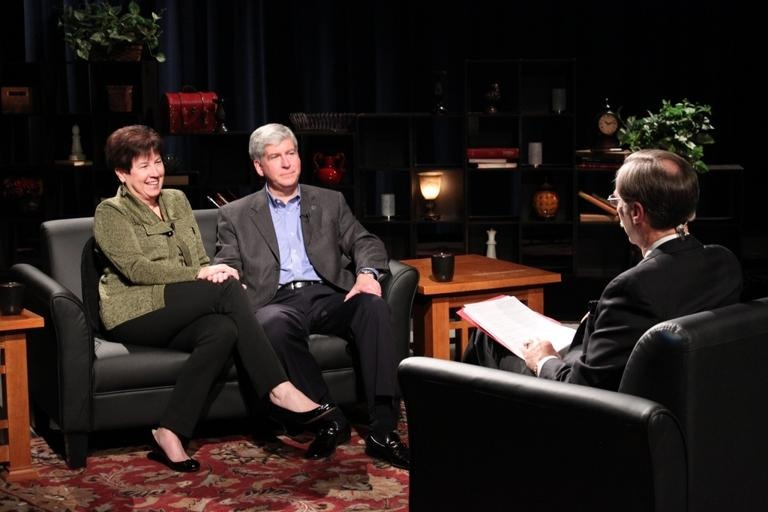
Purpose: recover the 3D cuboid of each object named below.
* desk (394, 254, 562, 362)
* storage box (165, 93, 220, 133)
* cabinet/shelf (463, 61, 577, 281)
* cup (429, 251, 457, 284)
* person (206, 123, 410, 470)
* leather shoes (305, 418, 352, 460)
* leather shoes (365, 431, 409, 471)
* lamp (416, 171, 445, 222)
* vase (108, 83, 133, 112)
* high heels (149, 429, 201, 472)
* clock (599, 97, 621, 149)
[{"bbox_3d":[0.467,0.174,3.407,0.696,0.617,0.672,-4,7,-30],"label":"desk"},{"bbox_3d":[-1.416,-1.023,4.472,0.362,0.283,0.243,-13,30,-41],"label":"storage box"},{"bbox_3d":[1.104,-0.676,5.129,0.899,1.603,0.436,1,-2,10],"label":"cabinet/shelf"},{"bbox_3d":[0.298,0.053,3.195,0.113,0.140,0.144,0,10,4],"label":"cup"},{"bbox_3d":[-0.392,0.140,3.040,0.901,1.517,0.997,-10,10,-40],"label":"person"},{"bbox_3d":[-0.257,0.817,2.819,0.119,0.124,0.318,-1,3,23],"label":"leather shoes"},{"bbox_3d":[0.016,0.829,2.696,0.242,0.100,0.089,10,9,42],"label":"leather shoes"},{"bbox_3d":[0.380,-0.506,5.186,0.200,0.393,0.245,0,11,5],"label":"lamp"},{"bbox_3d":[-1.805,-1.070,4.303,0.188,0.197,0.175,-1,2,-11],"label":"vase"},{"bbox_3d":[-0.906,0.837,2.738,0.315,0.128,0.108,11,9,35],"label":"high heels"},{"bbox_3d":[1.764,-1.037,4.997,0.217,0.403,0.144,-2,3,-1],"label":"clock"}]
